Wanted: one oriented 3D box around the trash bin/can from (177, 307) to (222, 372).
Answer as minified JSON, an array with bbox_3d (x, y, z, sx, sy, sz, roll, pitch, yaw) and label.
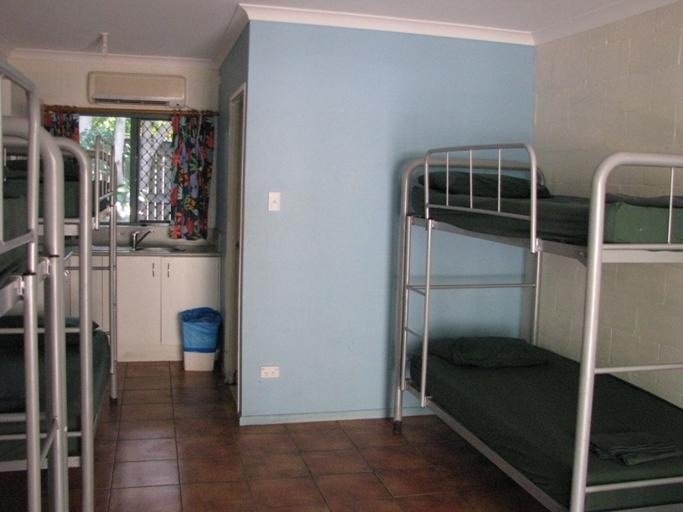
[{"bbox_3d":[-1.217,0.709,5.417,0.468,0.602,0.514,1,2,-12],"label":"trash bin/can"}]
